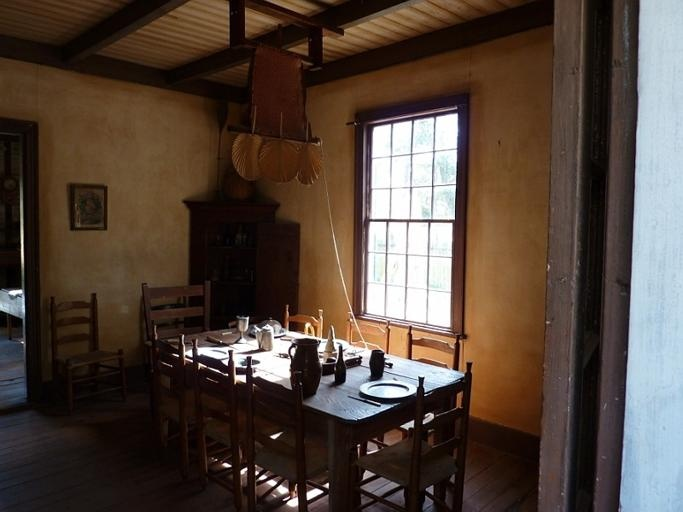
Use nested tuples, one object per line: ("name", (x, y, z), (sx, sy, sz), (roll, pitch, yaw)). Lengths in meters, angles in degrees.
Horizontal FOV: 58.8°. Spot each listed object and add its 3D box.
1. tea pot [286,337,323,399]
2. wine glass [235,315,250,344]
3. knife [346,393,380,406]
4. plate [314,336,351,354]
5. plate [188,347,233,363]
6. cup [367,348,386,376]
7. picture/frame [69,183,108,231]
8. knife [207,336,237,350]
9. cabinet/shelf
("tea pot", (-0.212, 0.641, 3.524), (0.188, 0.309, 0.180), (1, 2, 0))
("wine glass", (-0.793, 0.553, 4.672), (0.143, 0.242, 0.140), (0, 4, -29))
("knife", (0.126, 0.800, 3.379), (0.026, 0.027, 0.232), (-6, 8, -41))
("plate", (-0.048, 0.646, 4.349), (0.188, 0.048, 0.195), (4, 6, 37))
("plate", (-0.854, 0.643, 3.941), (0.146, 0.045, 0.150), (0, 2, -45))
("cup", (0.223, 0.677, 3.865), (0.122, 0.194, 0.124), (-3, -3, 0))
("picture/frame", (-2.371, -0.455, 5.726), (0.315, 0.480, 0.019), (0, -22, -23))
("knife", (-0.875, 0.638, 4.455), (0.064, 0.077, 0.607), (-6, 5, -27))
("cabinet/shelf", (-1.031, 0.055, 6.219), (1.186, 2.292, 0.687), (0, 1, -14))
